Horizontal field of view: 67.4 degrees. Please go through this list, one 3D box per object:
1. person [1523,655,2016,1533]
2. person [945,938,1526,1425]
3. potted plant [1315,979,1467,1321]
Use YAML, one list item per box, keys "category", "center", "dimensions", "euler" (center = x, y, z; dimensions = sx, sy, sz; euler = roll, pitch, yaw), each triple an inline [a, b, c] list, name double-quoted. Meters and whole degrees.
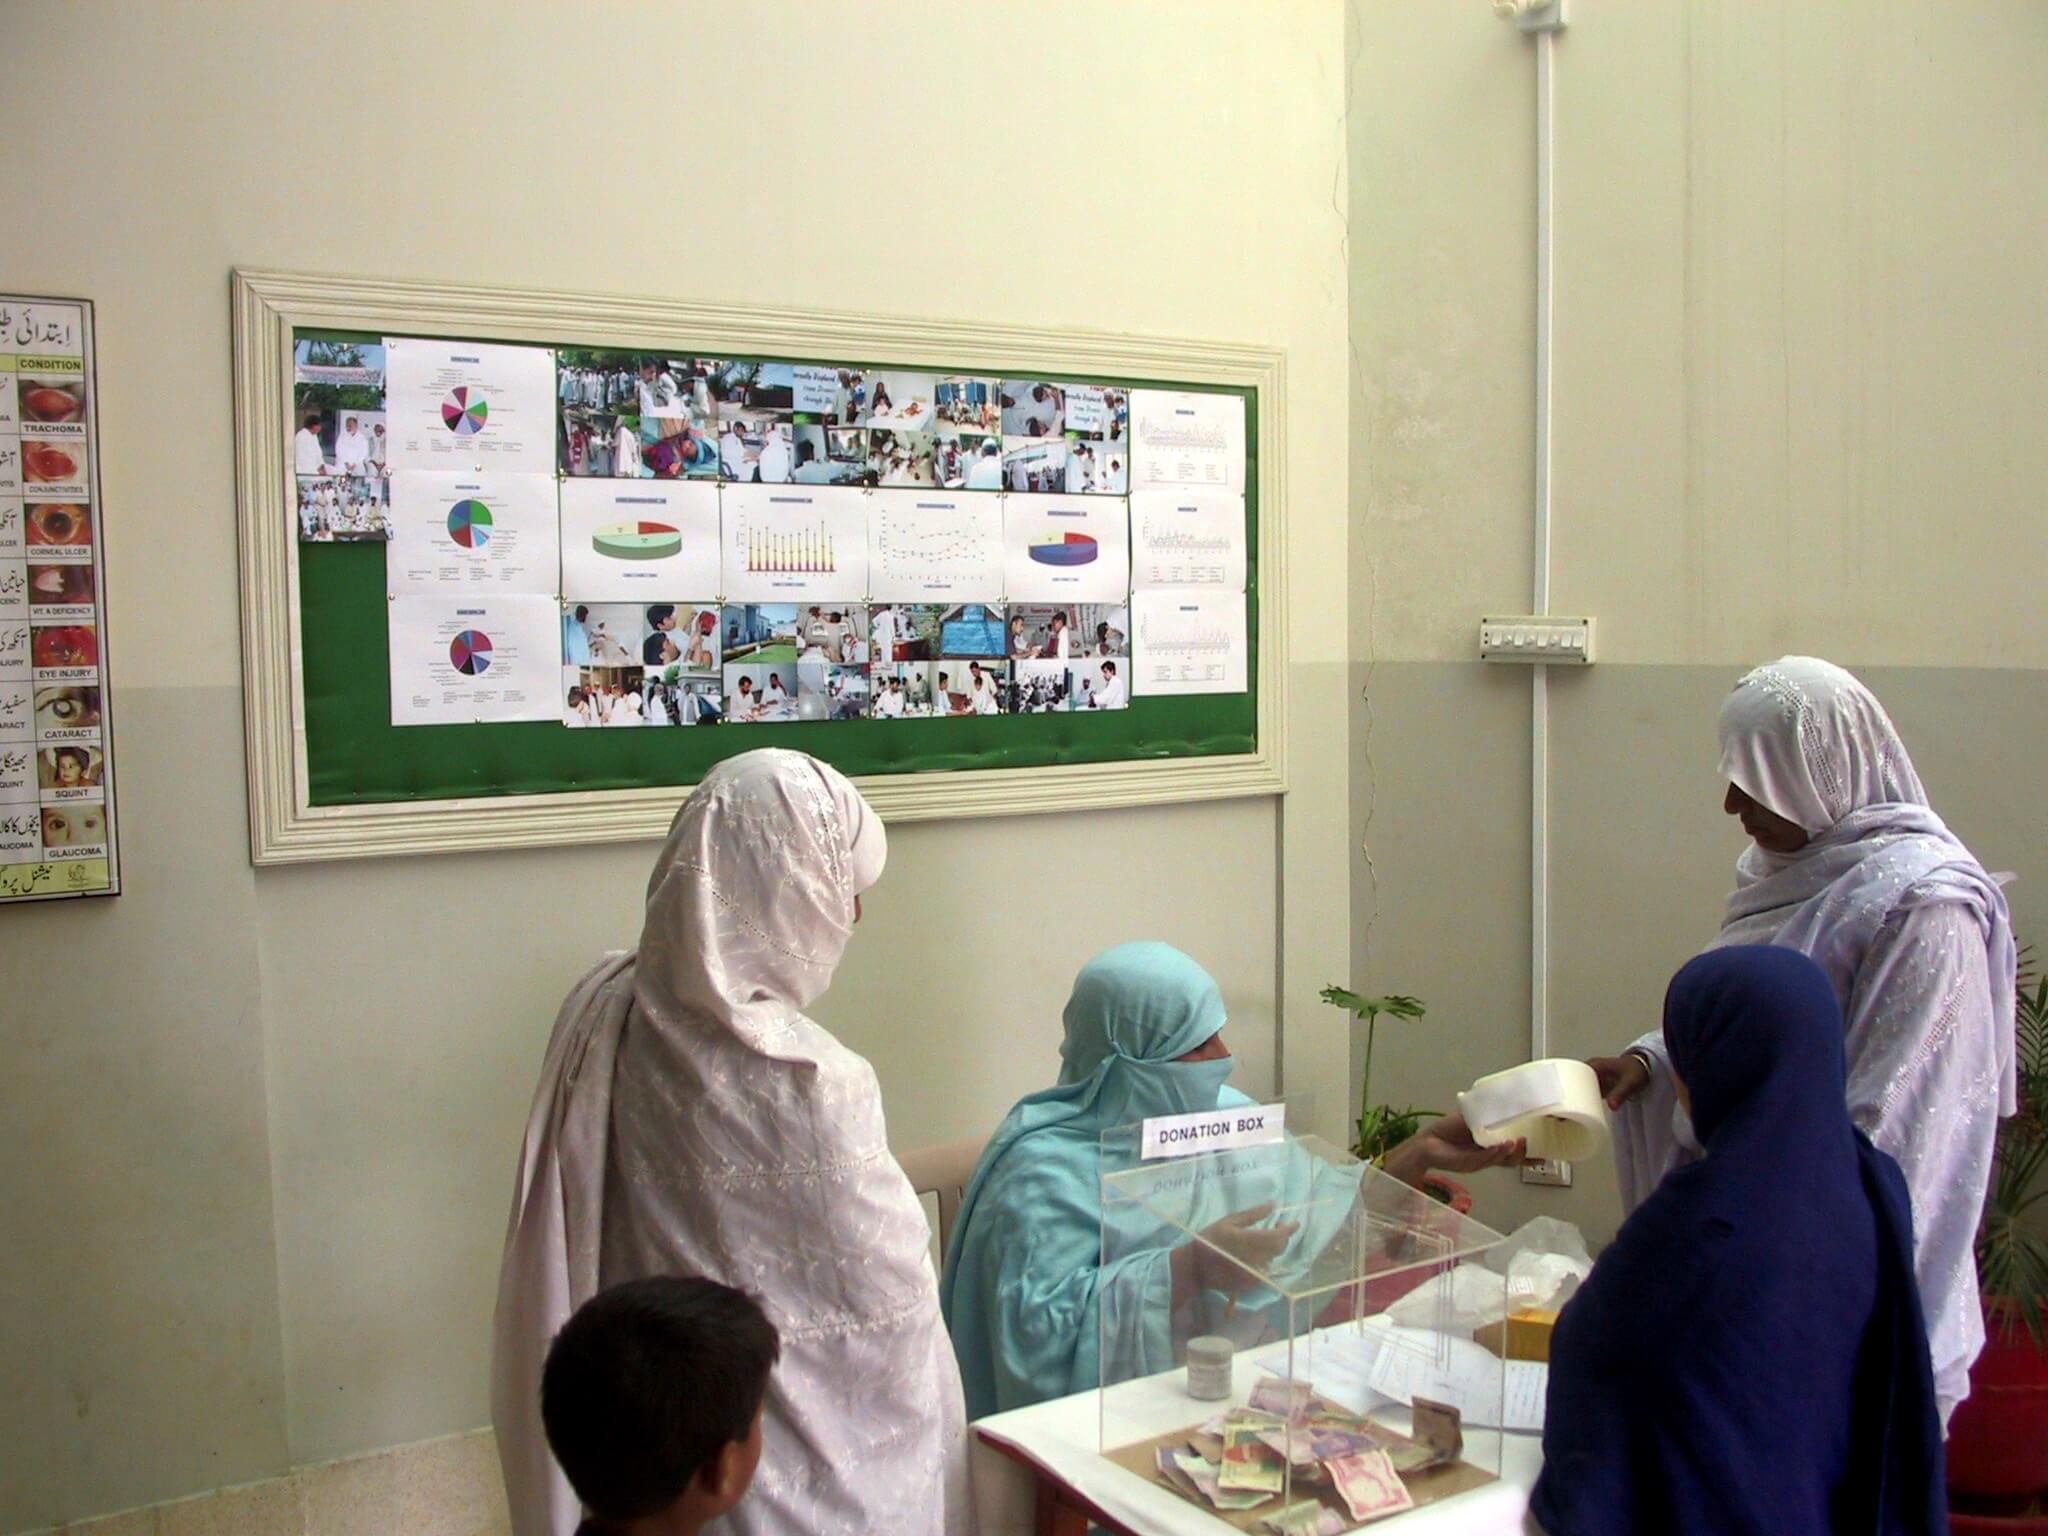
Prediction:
- category: "person"
  center: [1.330, 0.420, 2.465]
  dimensions: [0.419, 1.184, 0.375]
  euler: [1, 5, 41]
- category: "person"
  center: [0.309, 0.661, 2.641]
  dimensions: [0.836, 0.979, 0.702]
  euler: [-1, 4, 45]
- category: "potted plant"
  center: [0.853, 0.900, 3.714]
  dimensions: [0.283, 0.678, 0.350]
  euler: [8, -14, -41]
